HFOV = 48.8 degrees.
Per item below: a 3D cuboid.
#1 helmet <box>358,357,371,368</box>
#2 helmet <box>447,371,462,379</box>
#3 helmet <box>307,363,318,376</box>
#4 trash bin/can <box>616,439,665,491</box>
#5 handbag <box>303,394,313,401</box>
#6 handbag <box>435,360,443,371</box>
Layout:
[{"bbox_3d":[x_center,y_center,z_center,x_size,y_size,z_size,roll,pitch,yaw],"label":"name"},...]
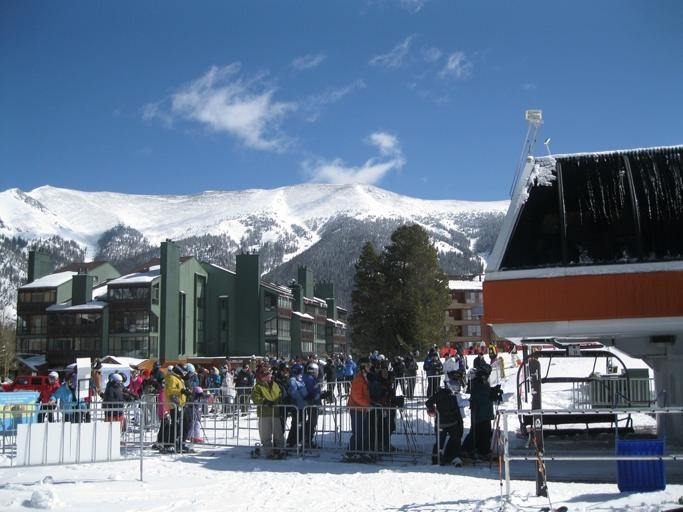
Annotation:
[{"bbox_3d":[0.610,2.771,19.569,0.241,0.290,0.616,2,-12,-16],"label":"helmet"},{"bbox_3d":[2.810,3.026,18.960,0.226,0.137,0.290,3,-8,-32],"label":"helmet"},{"bbox_3d":[-0.758,3.018,20.059,0.237,0.345,0.563,-2,-11,6],"label":"helmet"},{"bbox_3d":[5.860,4.115,14.669,0.910,1.045,0.798,-6,-12,22],"label":"trash bin/can"},{"bbox_3d":[-0.812,3.743,19.763,0.182,0.173,0.312,-8,-13,31],"label":"handbag"},{"bbox_3d":[3.987,4.505,30.534,0.392,0.576,0.558,-2,1,4],"label":"handbag"}]
